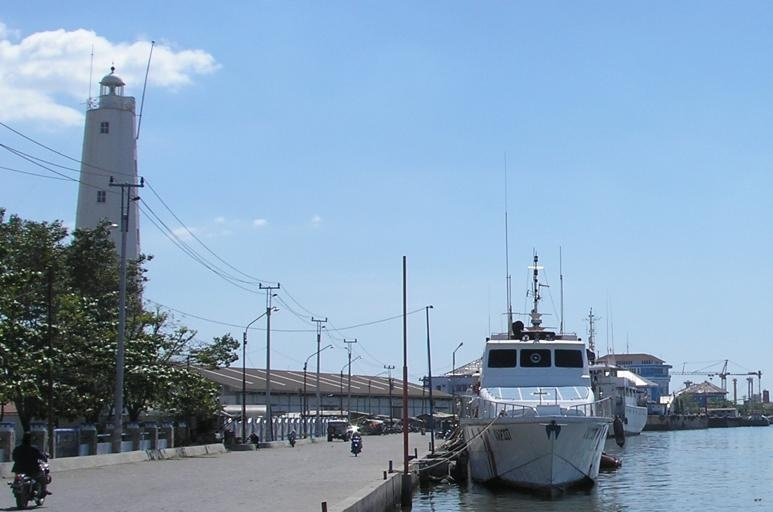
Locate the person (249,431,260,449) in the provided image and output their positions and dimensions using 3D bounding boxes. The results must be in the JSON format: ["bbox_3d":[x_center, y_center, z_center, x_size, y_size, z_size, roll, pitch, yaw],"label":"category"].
[{"bbox_3d":[-10.709,15.054,108.416,0.811,1.395,3.321,0,-12,-6],"label":"person"}]

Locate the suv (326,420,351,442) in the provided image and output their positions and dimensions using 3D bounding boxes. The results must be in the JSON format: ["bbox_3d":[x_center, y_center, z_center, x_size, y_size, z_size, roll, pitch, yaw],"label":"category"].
[{"bbox_3d":[-4.600,17.261,131.450,2.253,2.163,3.147,-1,-12,-1],"label":"suv"}]

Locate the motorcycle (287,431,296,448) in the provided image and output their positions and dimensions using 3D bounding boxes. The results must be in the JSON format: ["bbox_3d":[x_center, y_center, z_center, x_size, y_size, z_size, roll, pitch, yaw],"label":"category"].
[{"bbox_3d":[-8.211,16.103,115.127,0.878,1.048,1.112,0,14,-3],"label":"motorcycle"}]
